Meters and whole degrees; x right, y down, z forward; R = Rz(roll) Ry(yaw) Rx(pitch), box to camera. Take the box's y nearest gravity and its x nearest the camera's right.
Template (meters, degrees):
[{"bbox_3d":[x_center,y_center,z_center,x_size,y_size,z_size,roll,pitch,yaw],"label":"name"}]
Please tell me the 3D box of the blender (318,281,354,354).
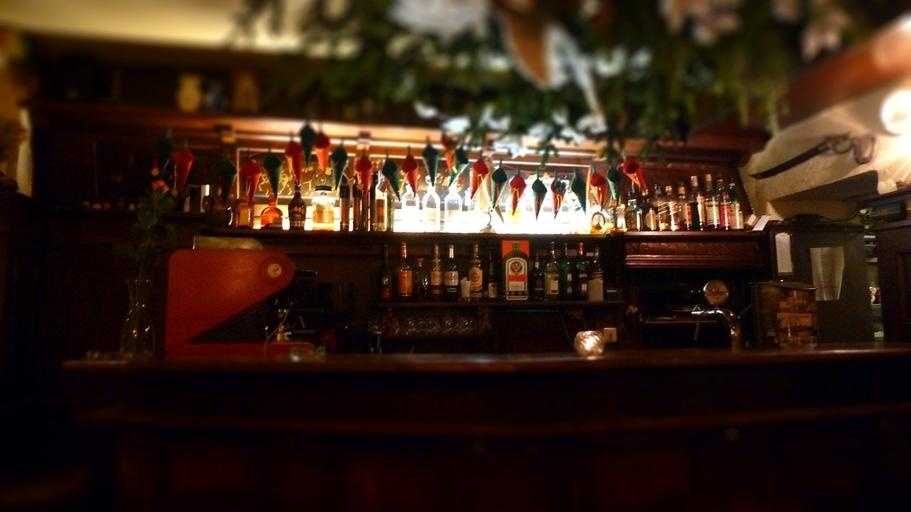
[{"bbox_3d":[-0.813,0.478,5.159,0.355,0.547,0.337,-2,-4,23],"label":"blender"}]
